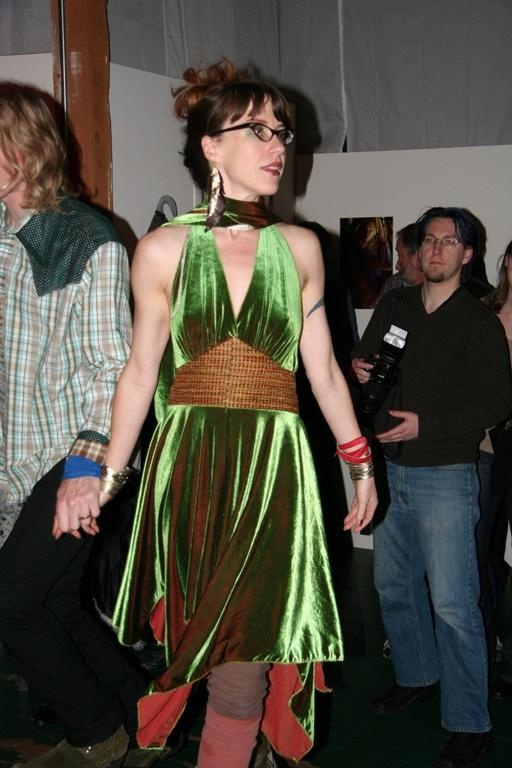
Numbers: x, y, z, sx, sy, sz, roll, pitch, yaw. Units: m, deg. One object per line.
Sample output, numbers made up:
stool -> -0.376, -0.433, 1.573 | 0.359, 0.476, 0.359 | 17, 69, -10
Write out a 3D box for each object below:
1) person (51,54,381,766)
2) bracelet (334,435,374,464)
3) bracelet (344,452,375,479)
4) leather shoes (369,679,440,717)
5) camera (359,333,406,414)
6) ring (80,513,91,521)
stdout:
person -> -0.055, 0.067, 1.367 | 0.636, 1.653, 0.351 | 2, -3, 1
bracelet -> 0.221, 0.147, 1.375 | 0.055, 0.052, 0.072 | -11, 13, 9
bracelet -> 0.242, 0.187, 1.428 | 0.052, 0.042, 0.057 | -9, -21, -3
leather shoes -> 0.529, 1.102, 2.245 | 0.238, 0.104, 0.078 | -2, 8, -19
camera -> 0.425, -0.050, 2.087 | 0.094, 0.354, 0.110 | 16, 5, 31
ring -> -0.330, 0.262, 1.222 | 0.020, 0.018, 0.034 | 2, -2, -15
